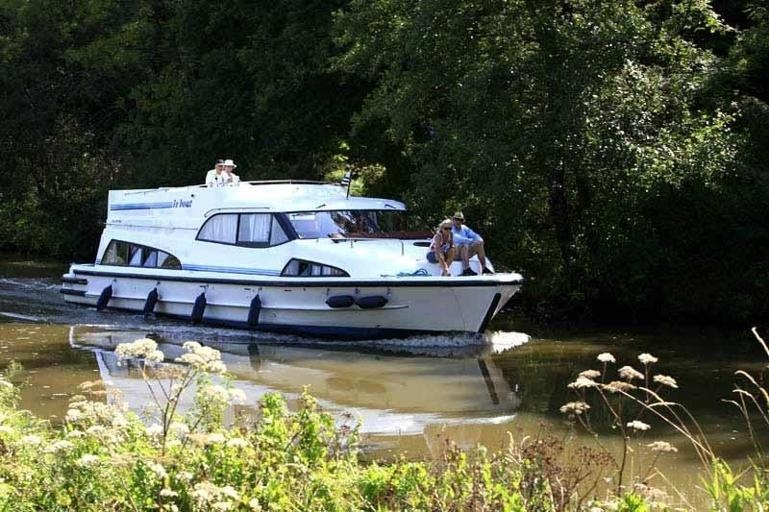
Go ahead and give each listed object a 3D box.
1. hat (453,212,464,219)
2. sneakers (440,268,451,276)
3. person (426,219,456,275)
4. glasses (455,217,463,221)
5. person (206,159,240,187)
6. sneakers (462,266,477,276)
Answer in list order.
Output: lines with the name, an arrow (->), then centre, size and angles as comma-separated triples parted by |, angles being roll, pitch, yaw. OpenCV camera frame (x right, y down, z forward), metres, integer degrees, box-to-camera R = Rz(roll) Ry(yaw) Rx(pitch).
hat -> 1.842, -1.005, 26.069 | 0.265, 0.132, 0.268 | 5, 7, 37
sneakers -> 1.471, 0.359, 25.463 | 0.238, 0.167, 0.481 | 2, 9, 2
person -> 1.364, -0.247, 25.581 | 0.656, 1.280, 0.691 | 0, 9, -8
glasses -> 1.789, -0.914, 26.021 | 0.274, 0.099, 0.105 | 8, 11, 36
person -> -4.304, -2.234, 28.438 | 0.728, 0.500, 1.242 | -4, -1, -19
sneakers -> 2.046, 0.347, 25.810 | 0.277, 0.271, 0.172 | -3, 3, 3
